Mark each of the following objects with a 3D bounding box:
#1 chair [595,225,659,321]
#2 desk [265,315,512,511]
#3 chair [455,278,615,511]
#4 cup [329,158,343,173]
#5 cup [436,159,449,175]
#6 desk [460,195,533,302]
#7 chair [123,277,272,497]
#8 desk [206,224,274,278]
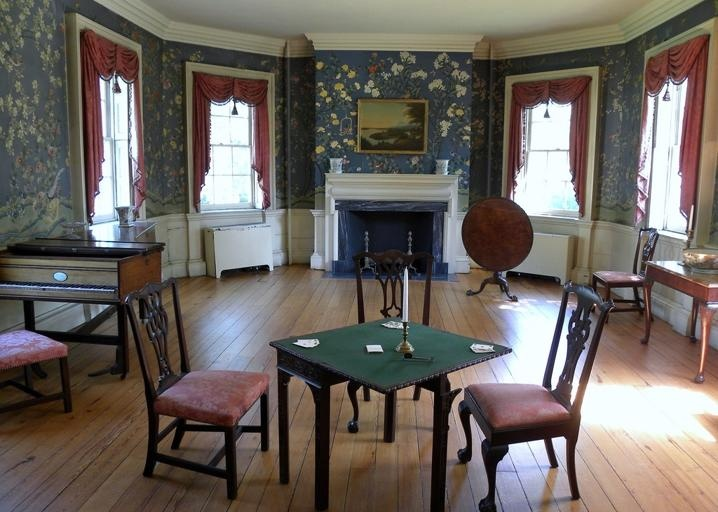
[{"bbox_3d":[3.082,0.205,6.015,0.642,1.010,0.614,-2,8,-4],"label":"chair"},{"bbox_3d":[0.152,0.812,3.274,1.176,1.039,1.153,-3,9,-33],"label":"desk"},{"bbox_3d":[1.343,1.067,3.859,1.079,1.807,1.057,2,8,-5],"label":"chair"},{"bbox_3d":[-0.344,-1.433,8.153,0.233,0.203,0.208,2,12,-1],"label":"cup"},{"bbox_3d":[1.321,-1.405,8.095,0.212,0.230,0.221,0,5,0],"label":"cup"},{"bbox_3d":[1.945,-0.176,7.249,0.904,1.502,0.640,4,24,20],"label":"desk"},{"bbox_3d":[-1.013,0.821,3.365,0.708,1.220,0.676,3,8,10],"label":"chair"},{"bbox_3d":[-1.931,-0.109,8.353,1.069,0.792,0.380,-8,13,-42],"label":"desk"}]
